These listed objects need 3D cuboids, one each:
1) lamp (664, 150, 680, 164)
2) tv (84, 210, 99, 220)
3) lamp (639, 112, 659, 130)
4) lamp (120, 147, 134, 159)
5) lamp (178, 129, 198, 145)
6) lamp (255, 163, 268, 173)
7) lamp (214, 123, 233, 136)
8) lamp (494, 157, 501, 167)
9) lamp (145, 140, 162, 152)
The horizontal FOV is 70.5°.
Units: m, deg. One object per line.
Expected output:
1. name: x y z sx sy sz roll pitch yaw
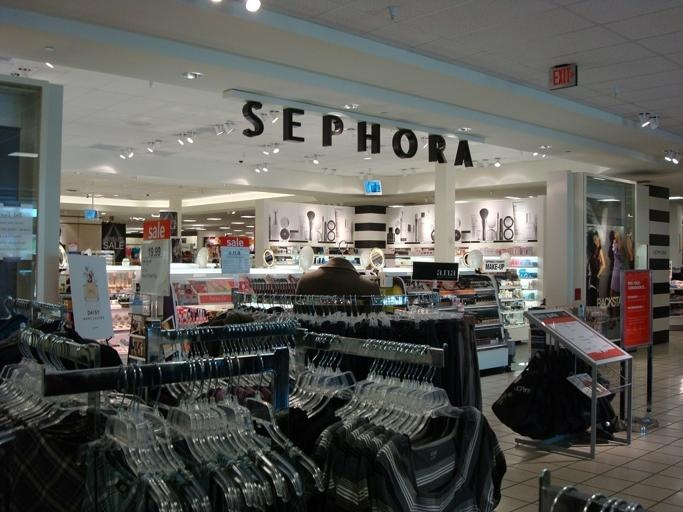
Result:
1. lamp: 7.160 -2.139 10.424 0.168 0.155 0.071 26 -4 7
2. tv: -10.540 -1.711 20.345 0.463 0.368 0.476 1 3 -4
3. lamp: 5.333 -2.336 8.344 0.392 0.249 0.125 3 -11 -43
4. lamp: -6.018 -2.878 13.601 0.457 0.308 0.156 2 16 9
5. lamp: -3.777 -2.858 11.691 0.377 0.192 0.517 -3 4 -24
6. lamp: -2.472 -2.690 14.889 0.225 0.137 0.366 2 6 37
7. lamp: -2.631 -2.828 10.818 0.376 0.207 0.496 -2 4 -18
8. lamp: 4.506 -2.692 13.906 0.241 0.251 0.231 -9 -3 15
9. lamp: -4.930 -2.891 12.746 0.455 0.263 0.248 -18 -5 42
